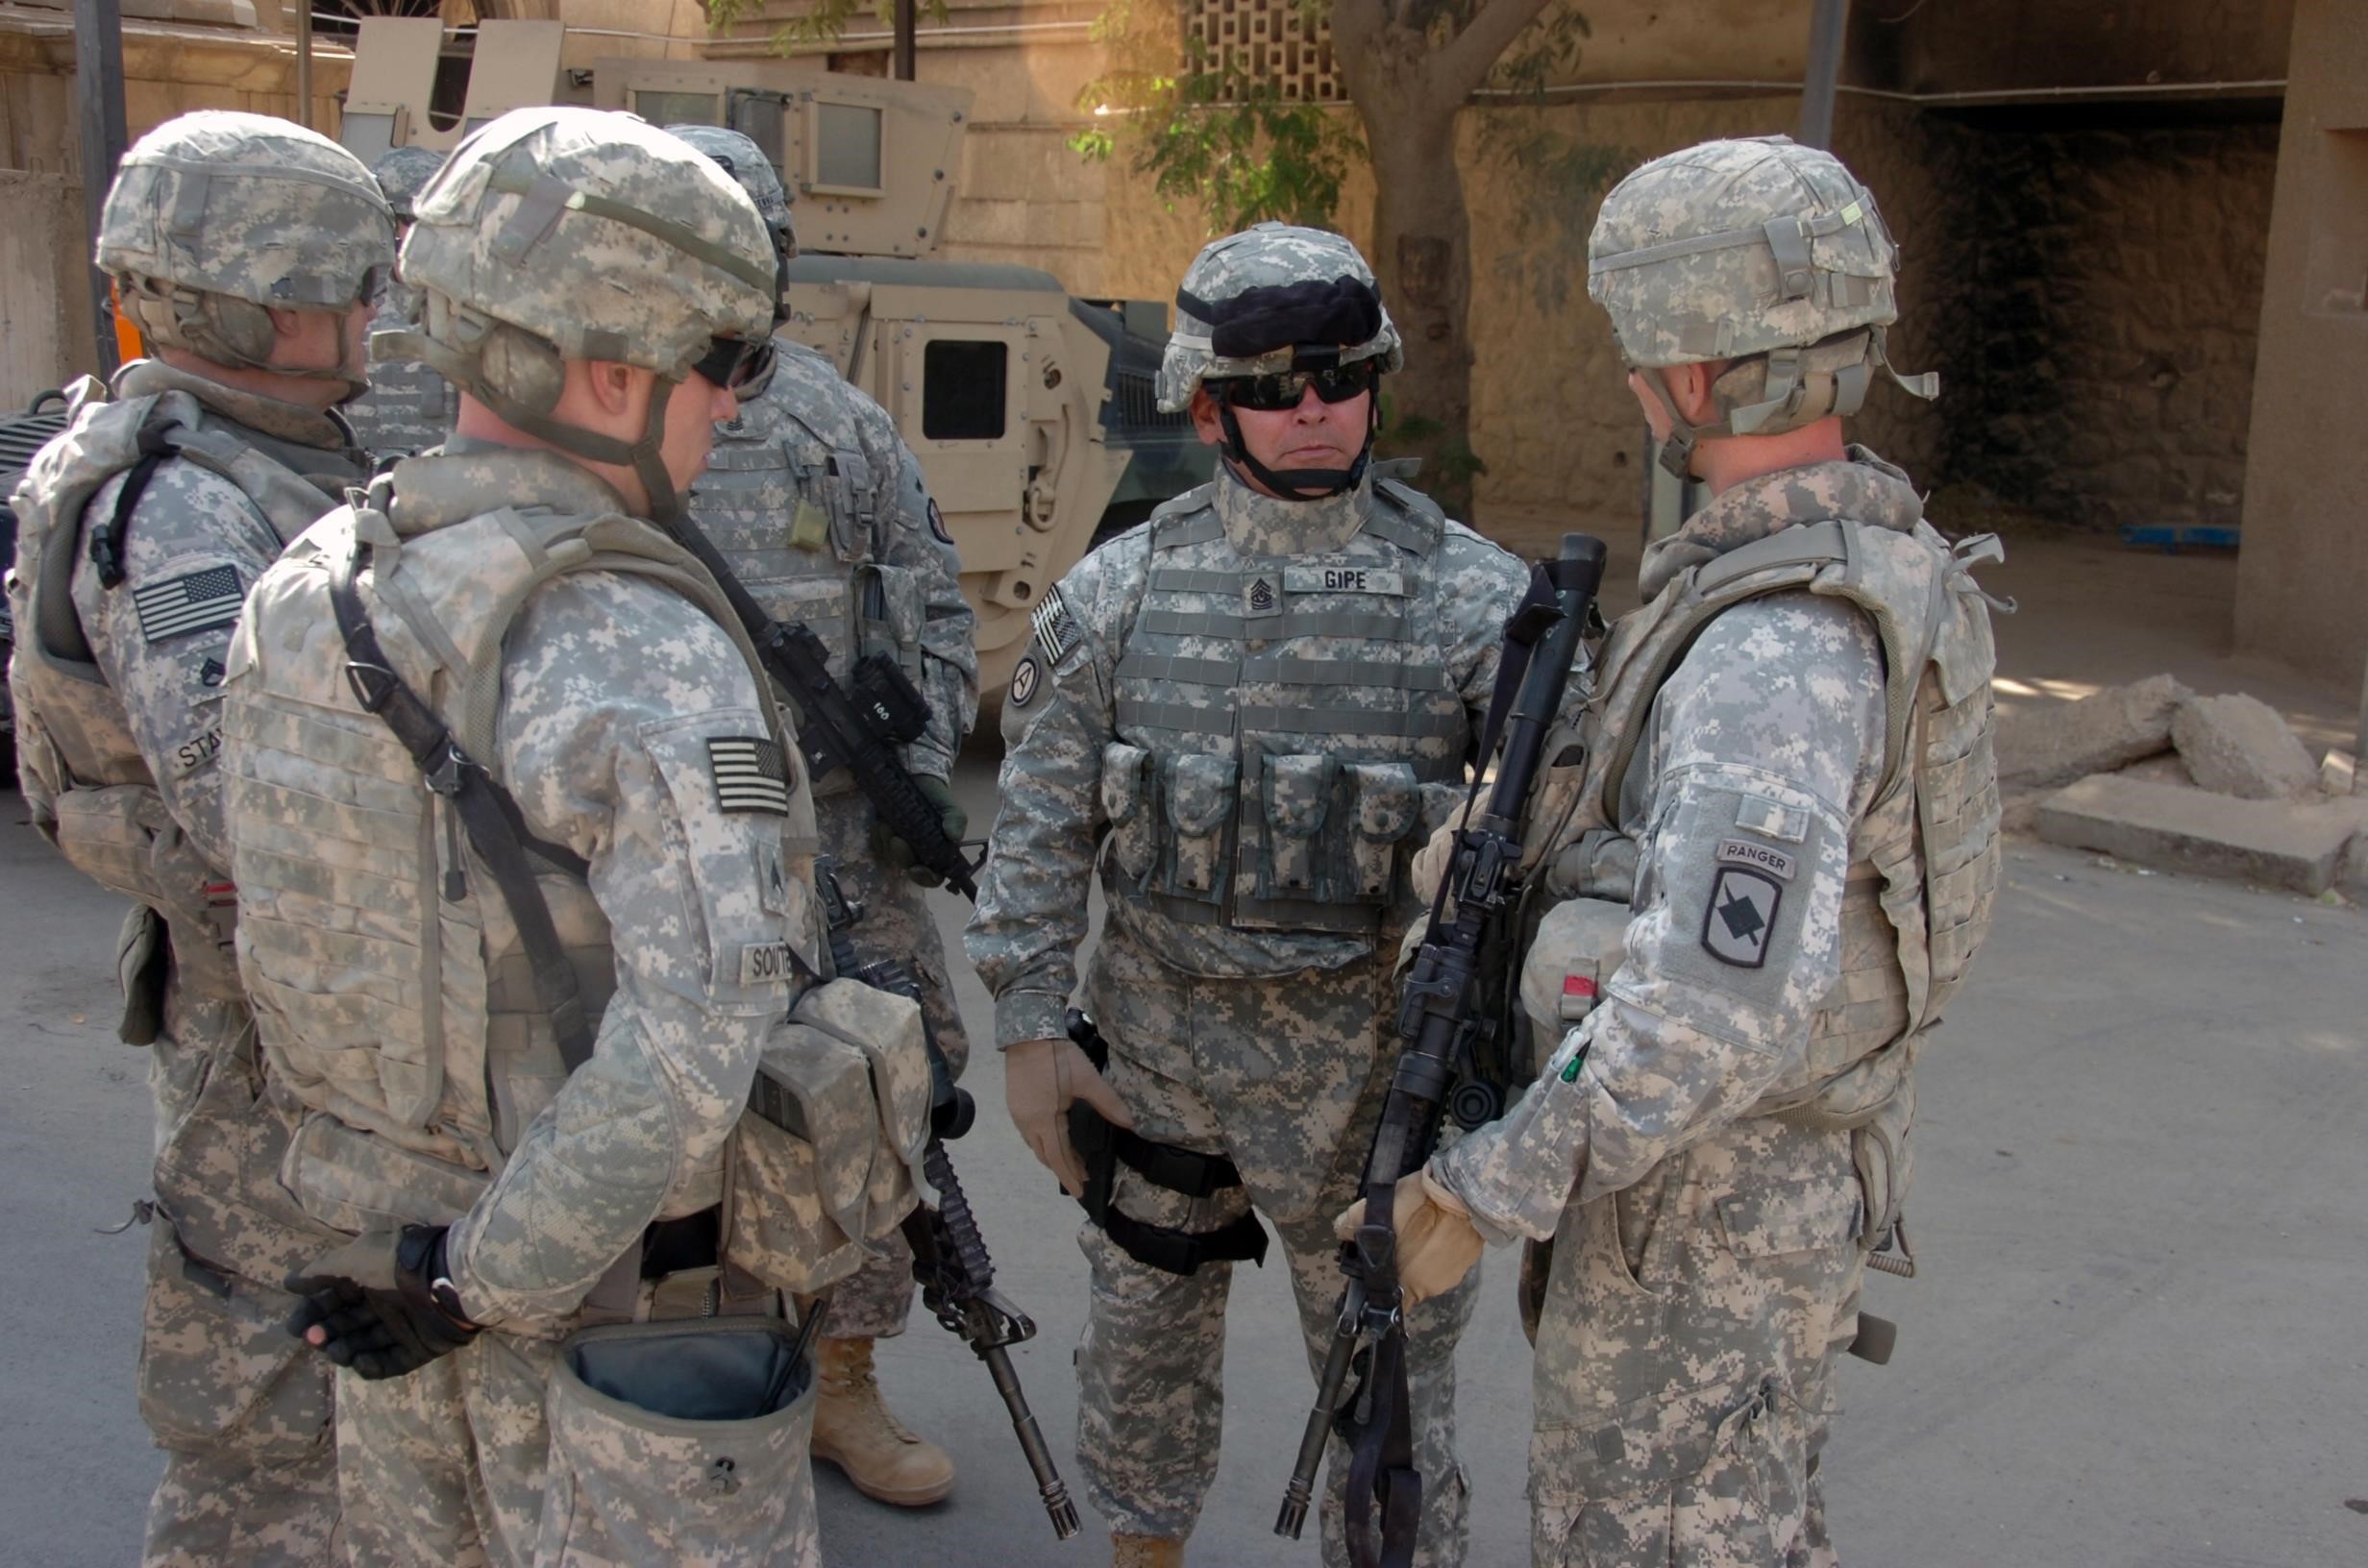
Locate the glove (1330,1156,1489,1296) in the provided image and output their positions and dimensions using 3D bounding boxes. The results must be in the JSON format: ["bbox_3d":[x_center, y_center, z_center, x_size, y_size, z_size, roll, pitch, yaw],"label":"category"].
[{"bbox_3d":[0.429,0.836,4.939,0.268,0.122,0.201,6,4,18],"label":"glove"}]

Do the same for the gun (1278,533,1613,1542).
[{"bbox_3d":[0.516,0.446,5.251,0.222,2.050,0.826,15,-7,8],"label":"gun"}]

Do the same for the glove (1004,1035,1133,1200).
[{"bbox_3d":[-0.248,0.693,5.739,0.250,0.349,0.125,15,28,40],"label":"glove"}]

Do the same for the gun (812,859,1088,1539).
[{"bbox_3d":[-0.531,0.963,5.801,0.217,1.484,0.611,-19,-5,6],"label":"gun"}]

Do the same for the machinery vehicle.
[{"bbox_3d":[-1.695,-1.819,11.123,4.107,1.995,2.442,-9,18,-30],"label":"machinery vehicle"}]
